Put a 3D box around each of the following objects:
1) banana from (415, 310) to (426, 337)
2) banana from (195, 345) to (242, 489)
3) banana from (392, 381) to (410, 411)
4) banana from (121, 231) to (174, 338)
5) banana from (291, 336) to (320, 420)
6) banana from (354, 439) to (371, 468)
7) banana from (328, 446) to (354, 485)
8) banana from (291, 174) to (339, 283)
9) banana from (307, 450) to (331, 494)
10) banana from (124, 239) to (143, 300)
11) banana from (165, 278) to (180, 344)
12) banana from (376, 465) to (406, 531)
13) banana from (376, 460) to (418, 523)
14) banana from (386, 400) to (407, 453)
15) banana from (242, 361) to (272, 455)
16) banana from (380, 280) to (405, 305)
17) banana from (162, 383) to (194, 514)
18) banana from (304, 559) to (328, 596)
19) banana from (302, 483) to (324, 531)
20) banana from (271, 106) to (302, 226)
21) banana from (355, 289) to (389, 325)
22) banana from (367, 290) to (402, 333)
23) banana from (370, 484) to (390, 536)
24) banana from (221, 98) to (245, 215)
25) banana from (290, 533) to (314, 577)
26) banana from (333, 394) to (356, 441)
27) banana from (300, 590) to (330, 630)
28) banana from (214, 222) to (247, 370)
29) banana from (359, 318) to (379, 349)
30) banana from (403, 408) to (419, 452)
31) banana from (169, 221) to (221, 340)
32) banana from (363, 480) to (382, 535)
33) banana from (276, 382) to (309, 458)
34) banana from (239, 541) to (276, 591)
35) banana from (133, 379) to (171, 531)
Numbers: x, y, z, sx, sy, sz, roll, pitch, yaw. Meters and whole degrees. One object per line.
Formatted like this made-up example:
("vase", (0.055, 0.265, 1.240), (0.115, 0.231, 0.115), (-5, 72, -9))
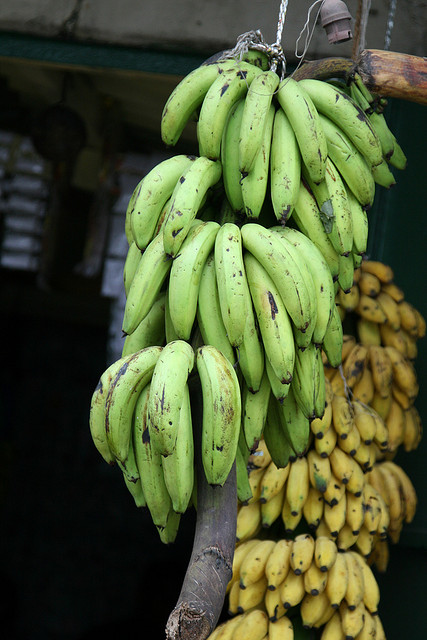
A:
("banana", (0.788, 0.014, 2.229), (0.033, 0.024, 0.118), (-2, 98, 9))
("banana", (0.011, 0.144, 0.966), (0.072, 0.064, 0.245), (-6, 52, -2))
("banana", (0.700, 0.293, 2.172), (0.036, 0.151, 0.049), (-6, 30, 32))
("banana", (-0.123, -0.067, 1.108), (0.039, 0.067, 0.219), (20, 66, 6))
("banana", (0.172, 0.100, 1.154), (0.042, 0.055, 0.182), (0, 70, -22))
("banana", (0.461, 0.418, 1.805), (0.041, 0.030, 0.089), (5, 42, -3))
("banana", (0.380, 0.436, 1.745), (0.038, 0.049, 0.141), (-7, 34, 0))
("banana", (0.195, -0.181, 1.126), (0.036, 0.063, 0.211), (-16, 87, -32))
("banana", (0.316, 0.440, 1.775), (0.065, 0.052, 0.160), (-7, 48, 7))
("banana", (-0.175, -0.112, 1.248), (0.037, 0.035, 0.136), (20, 57, -11))
("banana", (-0.087, -0.020, 1.128), (0.021, 0.040, 0.122), (-11, 70, 12))
("banana", (0.610, 0.613, 1.995), (0.080, 0.056, 0.185), (12, 55, -24))
("banana", (0.624, 0.596, 2.114), (0.066, 0.139, 0.242), (-34, 55, 19))
("banana", (0.665, 0.380, 2.131), (0.050, 0.070, 0.212), (11, 53, -7))
("banana", (0.079, 0.177, 1.124), (0.043, 0.065, 0.198), (2, 99, 12))
("banana", (0.638, -0.108, 2.125), (0.032, 0.056, 0.114), (-42, 62, 18))
("banana", (-0.051, 0.209, 0.997), (0.042, 0.057, 0.244), (2, 76, -28))
("banana", (0.281, 0.725, 1.613), (0.042, 0.037, 0.110), (7, 57, -6))
("banana", (0.298, 0.565, 1.748), (0.042, 0.040, 0.149), (19, 52, -16))
("banana", (0.131, -0.302, 1.112), (0.044, 0.068, 0.250), (3, 63, -1))
("banana", (0.546, -0.040, 2.007), (0.133, 0.077, 0.080), (28, 60, 17))
("banana", (0.613, -0.035, 2.057), (0.054, 0.079, 0.162), (-37, 83, -11))
("banana", (0.514, 0.593, 1.823), (0.037, 0.038, 0.150), (-14, 62, 10))
("banana", (0.028, -0.320, 1.125), (0.045, 0.067, 0.218), (-9, 65, 19))
("banana", (0.250, 0.662, 1.651), (0.038, 0.141, 0.046), (-21, 96, 12))
("banana", (0.396, 0.297, 1.776), (0.042, 0.054, 0.155), (0, 27, 4))
("banana", (0.291, 0.812, 1.667), (0.057, 0.043, 0.127), (30, 68, -1))
("banana", (0.024, -0.044, 1.016), (0.038, 0.060, 0.255), (-1, 75, -3))
("banana", (0.546, 0.045, 2.058), (0.026, 0.054, 0.095), (-12, 85, -2))
("banana", (0.746, 0.421, 2.238), (0.046, 0.058, 0.200), (-3, 90, -28))
("banana", (-0.043, -0.081, 1.022), (0.057, 0.070, 0.234), (-1, 66, 34))
("banana", (0.486, 0.584, 1.784), (0.051, 0.054, 0.193), (-2, 94, 19))
("banana", (0.161, 0.197, 1.214), (0.059, 0.204, 0.063), (2, 52, -7))
("banana", (0.136, 0.706, 1.756), (0.054, 0.061, 0.185), (6, 39, 26))
("banana", (-0.110, 0.249, 1.048), (0.047, 0.070, 0.285), (-12, 82, 8))
